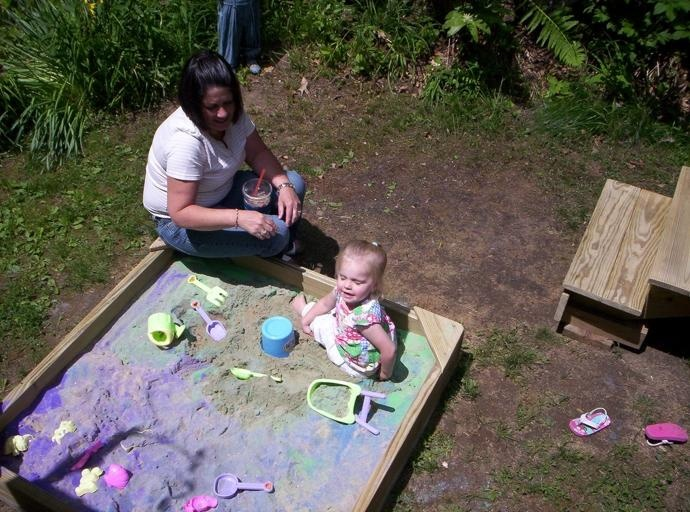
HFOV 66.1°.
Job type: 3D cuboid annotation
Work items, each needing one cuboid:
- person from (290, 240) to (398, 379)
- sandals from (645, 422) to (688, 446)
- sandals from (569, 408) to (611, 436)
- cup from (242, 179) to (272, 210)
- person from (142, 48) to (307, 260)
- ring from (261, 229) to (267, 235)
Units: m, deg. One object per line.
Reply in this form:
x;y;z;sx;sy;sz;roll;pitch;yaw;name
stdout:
0.023;0.163;3.725;0.771;1.142;0.801;-2;50;-5;person
2.133;1.187;3.522;0.227;0.102;0.141;1;38;10;sandals
1.664;1.157;3.620;0.254;0.089;0.149;-24;55;-7;sandals
-0.661;-0.489;3.948;0.203;0.164;0.218;2;49;-2;cup
-0.859;-0.575;3.869;1.117;1.670;1.032;1;41;-9;person
-0.553;-0.161;3.660;0.019;0.007;0.028;-31;90;-6;ring
